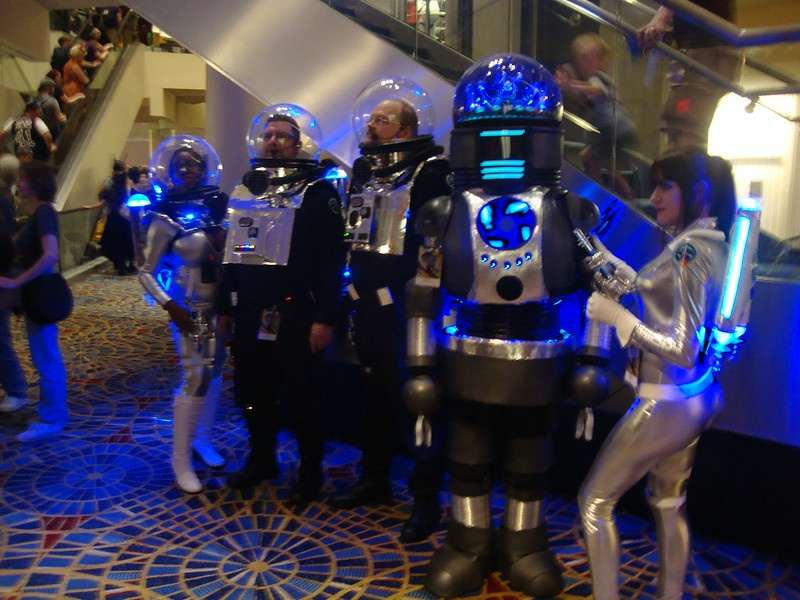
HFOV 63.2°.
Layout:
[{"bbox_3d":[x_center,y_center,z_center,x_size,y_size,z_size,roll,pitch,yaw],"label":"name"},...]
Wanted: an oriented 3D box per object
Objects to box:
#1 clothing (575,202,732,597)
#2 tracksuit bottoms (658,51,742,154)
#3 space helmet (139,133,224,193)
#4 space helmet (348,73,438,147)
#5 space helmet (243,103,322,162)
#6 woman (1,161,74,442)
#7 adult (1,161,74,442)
[{"bbox_3d":[0.905,0.405,2.319,0.492,1.383,0.314,5,12,17],"label":"clothing"},{"bbox_3d":[1.299,-0.910,2.779,0.227,0.389,0.288,8,41,12],"label":"tracksuit bottoms"},{"bbox_3d":[-1.109,-0.694,3.374,0.321,0.345,0.339,4,0,-8],"label":"space helmet"},{"bbox_3d":[-0.018,-0.935,3.155,0.351,0.349,0.336,-2,-3,15],"label":"space helmet"},{"bbox_3d":[-0.592,-0.858,3.359,0.337,0.258,0.330,0,14,12],"label":"space helmet"},{"bbox_3d":[-2.194,-0.002,3.907,0.372,1.626,0.480,-5,13,-28],"label":"woman"},{"bbox_3d":[-2.194,-0.002,3.907,0.372,1.626,0.480,-5,13,-28],"label":"adult"}]
